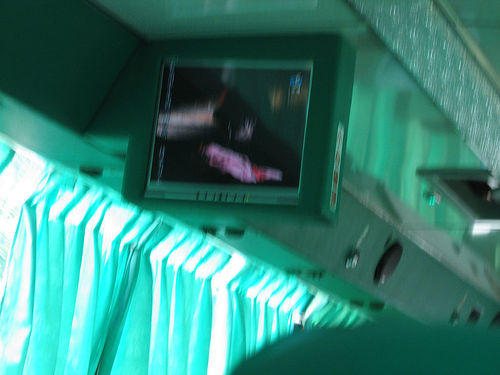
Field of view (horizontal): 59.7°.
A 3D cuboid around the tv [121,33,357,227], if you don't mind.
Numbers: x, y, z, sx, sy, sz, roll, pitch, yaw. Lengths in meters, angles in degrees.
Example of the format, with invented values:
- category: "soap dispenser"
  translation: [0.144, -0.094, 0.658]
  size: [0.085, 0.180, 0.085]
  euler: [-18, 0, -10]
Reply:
- category: "tv"
  translation: [-0.029, -0.133, 0.906]
  size: [0.307, 0.320, 0.112]
  euler: [6, -3, 15]
